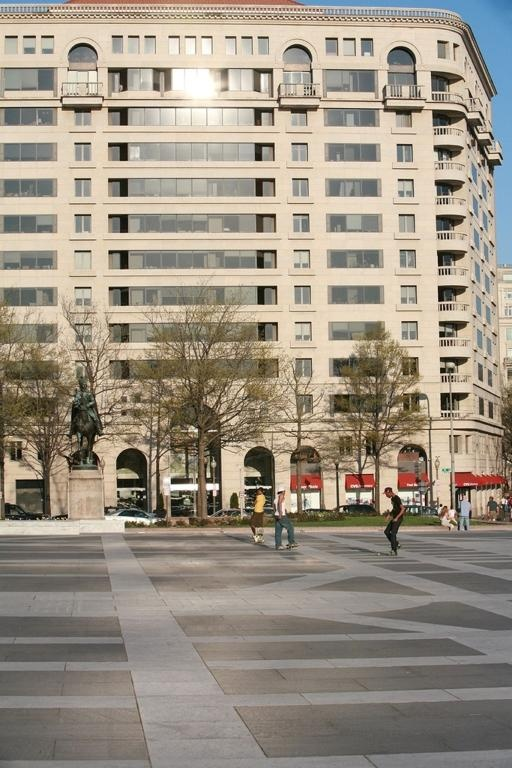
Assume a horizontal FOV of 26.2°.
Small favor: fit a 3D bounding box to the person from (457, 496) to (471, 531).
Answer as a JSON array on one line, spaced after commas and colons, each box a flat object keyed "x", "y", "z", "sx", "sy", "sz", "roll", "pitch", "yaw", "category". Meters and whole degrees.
[{"x": 8.400, "y": 5.167, "z": 44.525, "sx": 0.429, "sy": 1.223, "sz": 1.304, "roll": -2, "pitch": -6, "yaw": 7, "category": "person"}]
